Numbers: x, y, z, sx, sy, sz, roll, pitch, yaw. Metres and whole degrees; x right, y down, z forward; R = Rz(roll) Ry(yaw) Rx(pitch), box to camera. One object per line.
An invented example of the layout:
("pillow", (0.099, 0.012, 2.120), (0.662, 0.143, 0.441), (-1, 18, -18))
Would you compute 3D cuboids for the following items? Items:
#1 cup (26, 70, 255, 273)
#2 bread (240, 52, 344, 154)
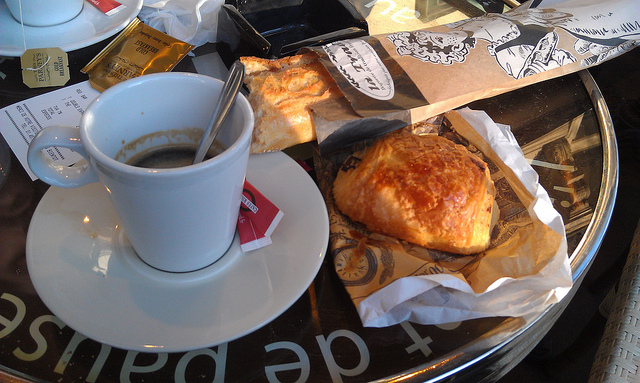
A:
("cup", (-0.213, -0.035, 0.692), (0.362, 0.248, 0.257), (6, 49, -14))
("bread", (-0.058, -0.163, 0.770), (0.196, 0.056, 0.166), (-13, 75, -12))
